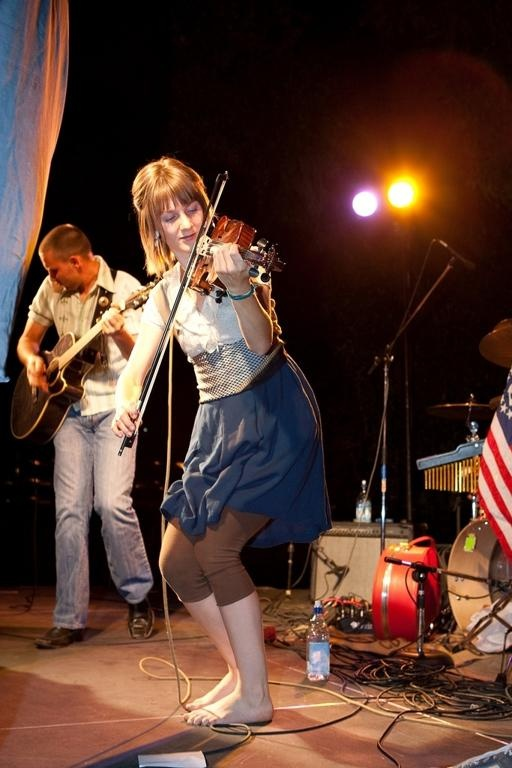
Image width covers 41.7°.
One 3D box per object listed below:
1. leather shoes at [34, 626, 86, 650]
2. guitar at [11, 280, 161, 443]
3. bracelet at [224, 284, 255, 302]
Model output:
[{"bbox_3d":[-0.743,0.963,2.558,0.104,0.060,0.237,2,-12,11],"label":"leather shoes"},{"bbox_3d":[-0.697,-0.098,2.715,0.121,0.406,1.014,28,-63,-35],"label":"guitar"},{"bbox_3d":[-0.040,-0.207,1.520,0.065,0.042,0.051,1,-12,17],"label":"bracelet"}]
